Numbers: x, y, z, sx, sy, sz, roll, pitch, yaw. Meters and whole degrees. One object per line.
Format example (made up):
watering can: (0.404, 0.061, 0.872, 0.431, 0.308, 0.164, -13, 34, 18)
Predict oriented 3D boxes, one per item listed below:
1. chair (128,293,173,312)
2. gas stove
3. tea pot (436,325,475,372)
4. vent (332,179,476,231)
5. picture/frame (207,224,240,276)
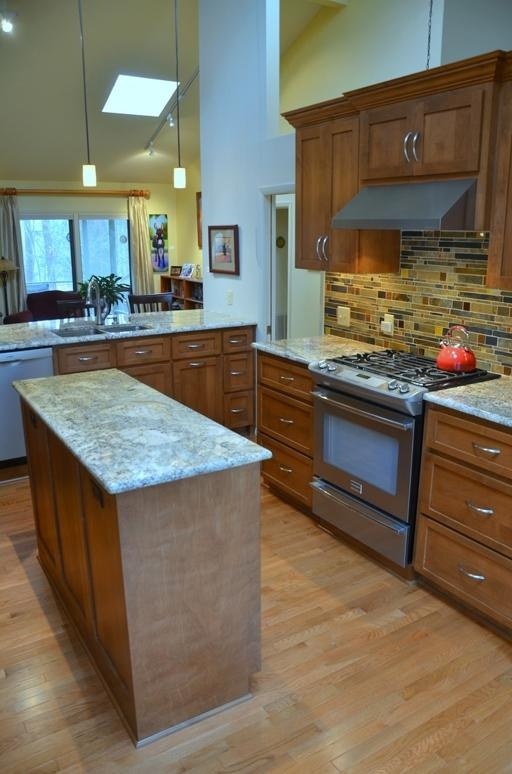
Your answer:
chair: (-1.001, -0.768, 5.103, 0.362, 0.175, 0.860, -2, 8, -13)
gas stove: (0.655, -0.030, 2.503, 0.537, 0.195, 0.768, -4, 9, -26)
tea pot: (0.910, -0.172, 2.508, 0.190, 0.224, 0.208, 0, 5, 0)
vent: (0.613, -0.761, 2.366, 0.209, 0.221, 0.631, -13, 20, -31)
picture/frame: (-0.259, -1.101, 4.448, 0.028, 0.433, 0.412, -7, 15, -31)
